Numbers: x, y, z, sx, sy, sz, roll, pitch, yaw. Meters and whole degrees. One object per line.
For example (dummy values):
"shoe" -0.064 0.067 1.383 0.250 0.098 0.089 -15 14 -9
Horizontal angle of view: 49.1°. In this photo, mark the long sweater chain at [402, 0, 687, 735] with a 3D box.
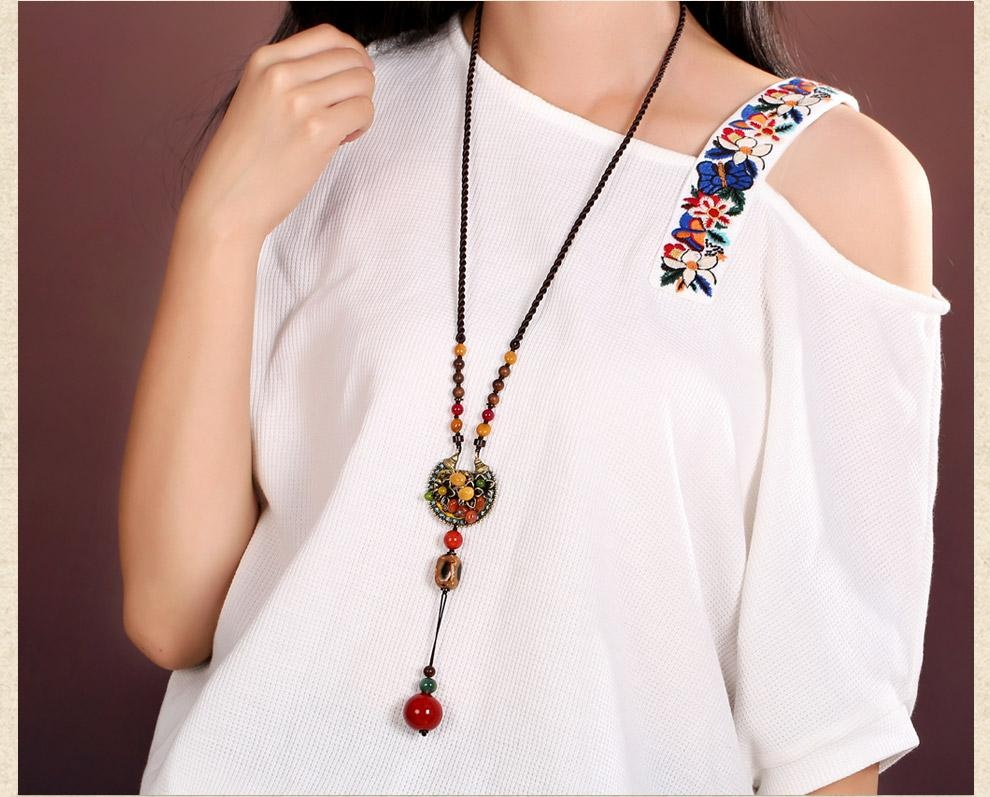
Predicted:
"long sweater chain" 0.021 -0.112 1.729 0.291 1.222 0.096 6 -13 5

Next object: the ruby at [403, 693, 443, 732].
"ruby" -0.098 0.431 1.489 0.042 0.057 0.043 1 -8 14

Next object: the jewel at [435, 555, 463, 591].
"jewel" -0.066 0.246 1.532 0.038 0.055 0.031 6 9 -6

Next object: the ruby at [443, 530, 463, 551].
"ruby" -0.059 0.201 1.539 0.020 0.027 0.021 -5 -5 5
